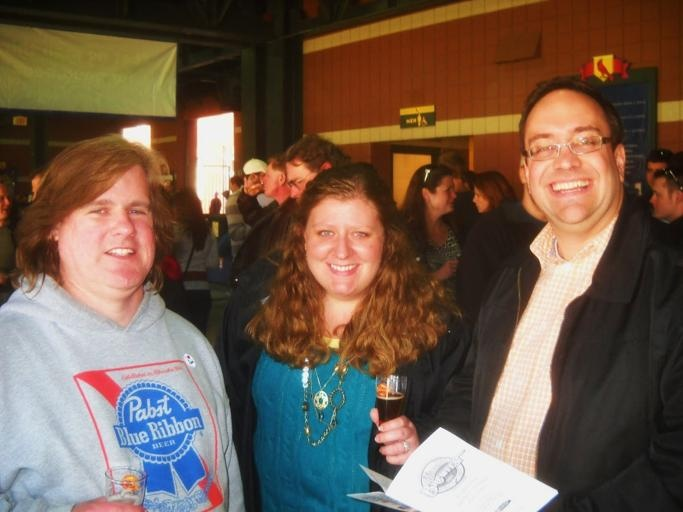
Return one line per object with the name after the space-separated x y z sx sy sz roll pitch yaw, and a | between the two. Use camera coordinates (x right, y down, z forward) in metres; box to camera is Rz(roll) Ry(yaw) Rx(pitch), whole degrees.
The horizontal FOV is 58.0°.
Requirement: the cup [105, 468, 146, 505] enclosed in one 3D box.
-0.745 0.794 2.186 0.113 0.143 0.125 9 -11 -3 | cup

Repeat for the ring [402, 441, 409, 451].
0.269 0.794 2.580 0.026 0.029 0.029 2 19 -1 | ring

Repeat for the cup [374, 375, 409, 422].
0.205 0.628 2.609 0.129 0.251 0.144 -1 -6 24 | cup

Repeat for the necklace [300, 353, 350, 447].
-0.089 0.676 2.828 0.203 0.053 0.458 -10 37 9 | necklace
